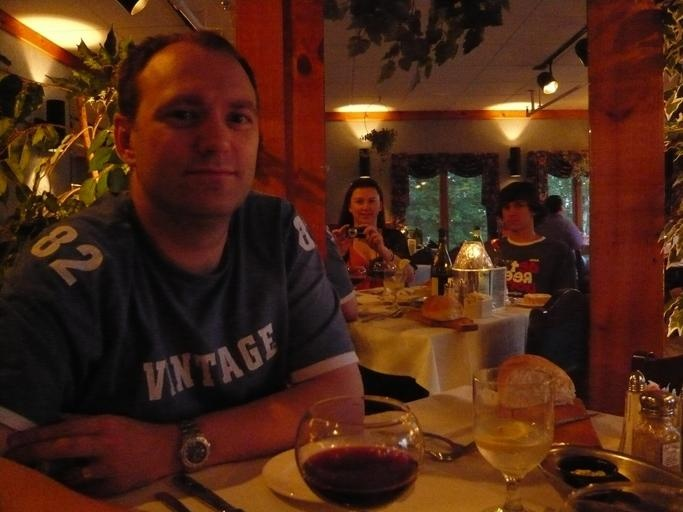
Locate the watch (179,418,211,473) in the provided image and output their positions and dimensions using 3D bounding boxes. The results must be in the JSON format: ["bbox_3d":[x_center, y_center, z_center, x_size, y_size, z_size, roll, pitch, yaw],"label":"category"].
[{"bbox_3d":[-0.323,0.419,1.268,0.056,0.088,0.086,1,-17,-38],"label":"watch"}]

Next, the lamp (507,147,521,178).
[{"bbox_3d":[3.032,-1.634,10.183,0.255,0.468,0.184,-4,-2,13],"label":"lamp"}]

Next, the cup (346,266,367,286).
[{"bbox_3d":[0.090,0.123,3.606,0.117,0.113,0.115,1,3,0],"label":"cup"}]

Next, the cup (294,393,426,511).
[{"bbox_3d":[0.035,0.314,1.033,0.171,0.148,0.176,-1,5,0],"label":"cup"}]

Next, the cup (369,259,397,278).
[{"bbox_3d":[0.258,0.076,3.410,0.118,0.071,0.116,0,-2,0],"label":"cup"}]

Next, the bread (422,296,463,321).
[{"bbox_3d":[0.454,0.222,2.593,0.122,0.070,0.122,1,0,9],"label":"bread"}]
